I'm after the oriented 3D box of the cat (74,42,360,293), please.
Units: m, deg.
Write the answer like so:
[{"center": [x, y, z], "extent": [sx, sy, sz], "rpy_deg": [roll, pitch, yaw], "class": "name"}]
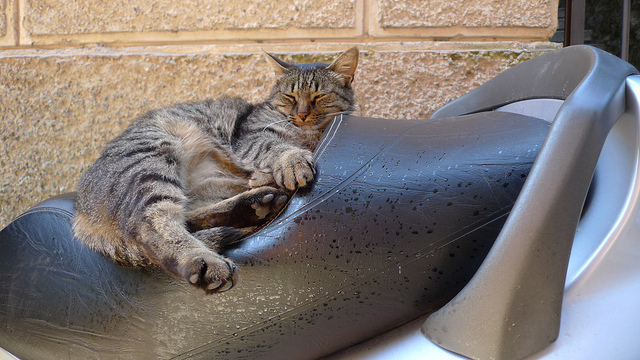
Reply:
[{"center": [-0.321, -0.164, 3.796], "extent": [1.479, 0.981, 0.884], "rpy_deg": [15, 15, 34], "class": "cat"}]
